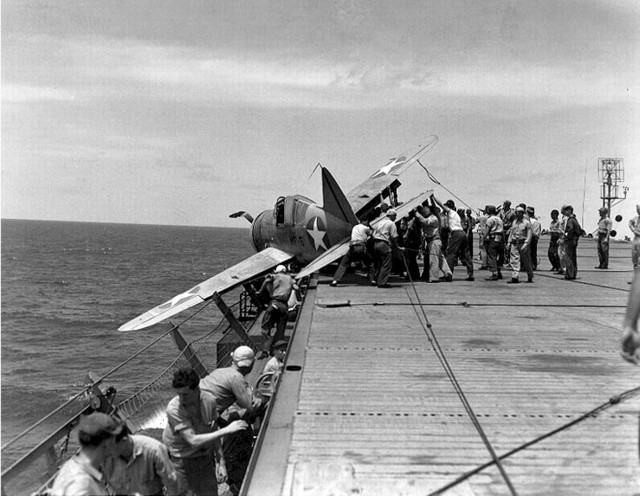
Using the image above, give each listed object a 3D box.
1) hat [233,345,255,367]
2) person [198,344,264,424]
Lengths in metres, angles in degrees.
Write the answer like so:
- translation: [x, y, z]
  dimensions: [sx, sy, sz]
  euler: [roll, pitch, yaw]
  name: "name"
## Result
- translation: [-1.027, 1.426, 8.809]
  dimensions: [0.248, 0.202, 0.251]
  euler: [14, 33, 20]
  name: "hat"
- translation: [-1.052, 1.707, 8.602]
  dimensions: [0.623, 0.438, 0.930]
  euler: [21, 36, 33]
  name: "person"
